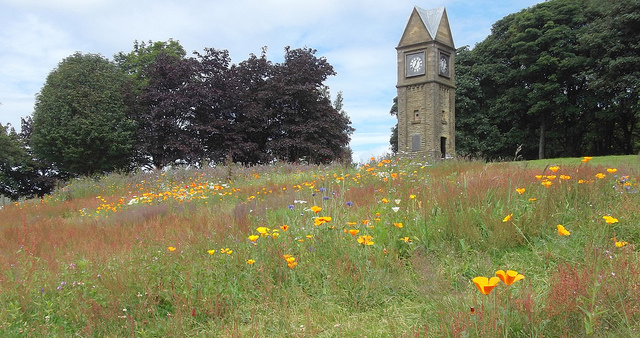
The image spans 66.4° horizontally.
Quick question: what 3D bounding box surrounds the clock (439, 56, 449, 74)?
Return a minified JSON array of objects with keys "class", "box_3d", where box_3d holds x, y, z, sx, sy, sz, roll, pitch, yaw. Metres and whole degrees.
[{"class":"clock","box_3d":[11.978,-10.136,47.386,0.078,1.696,1.788,-4,-11,42]}]
